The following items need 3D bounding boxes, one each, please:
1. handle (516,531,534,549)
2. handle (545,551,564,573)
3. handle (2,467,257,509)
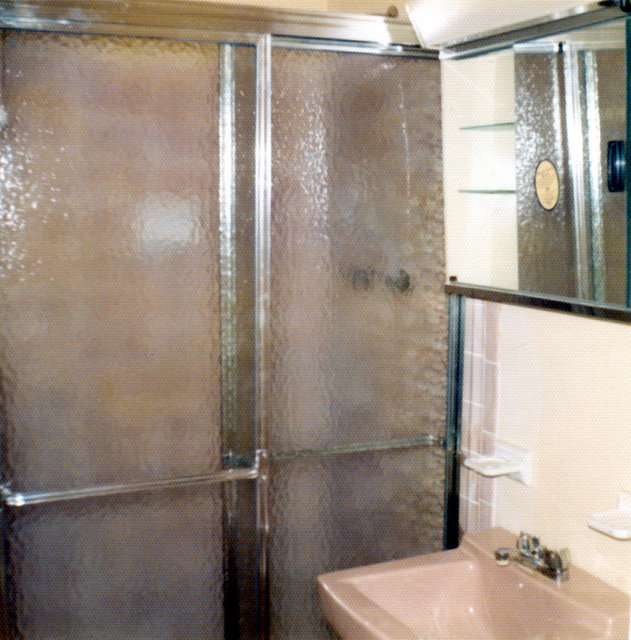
[{"bbox_3d":[0.409,0.432,1.432,0.011,0.023,0.032,10,-106,-27],"label":"handle"},{"bbox_3d":[0.446,0.453,1.364,0.025,0.035,0.029,-1,-80,-4],"label":"handle"},{"bbox_3d":[-0.413,0.351,1.533,0.452,0.067,0.069,-4,-106,-15],"label":"handle"}]
